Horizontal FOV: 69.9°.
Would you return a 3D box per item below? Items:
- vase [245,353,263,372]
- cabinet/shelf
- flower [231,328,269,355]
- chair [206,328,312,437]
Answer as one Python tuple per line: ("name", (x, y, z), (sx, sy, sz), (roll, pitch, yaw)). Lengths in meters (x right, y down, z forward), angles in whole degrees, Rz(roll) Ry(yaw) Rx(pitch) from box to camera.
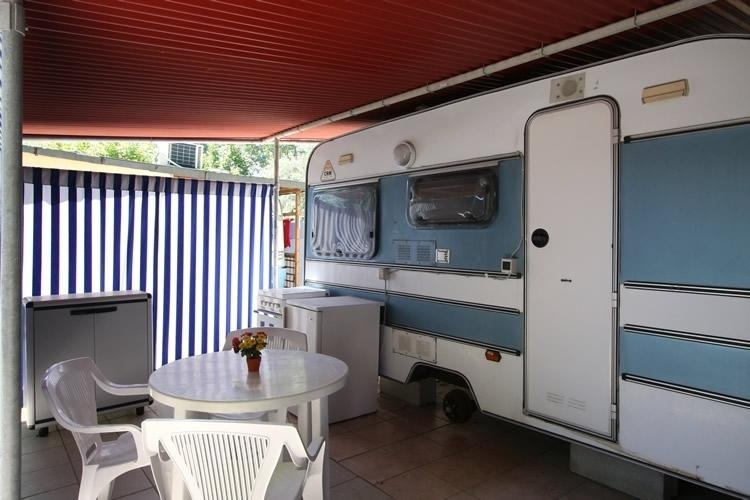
("vase", (-0.897, 0.828, 4.004), (0.123, 0.089, 0.123), (-1, -2, 24))
("cabinet/shelf", (-2.696, 1.056, 5.011), (1.529, 1.478, 0.538), (-1, -2, -35))
("flower", (-0.938, 0.691, 4.043), (0.322, 0.213, 0.316), (1, 0, -5))
("chair", (-0.910, 1.084, 4.719), (0.784, 1.054, 0.791), (-2, -7, 28))
